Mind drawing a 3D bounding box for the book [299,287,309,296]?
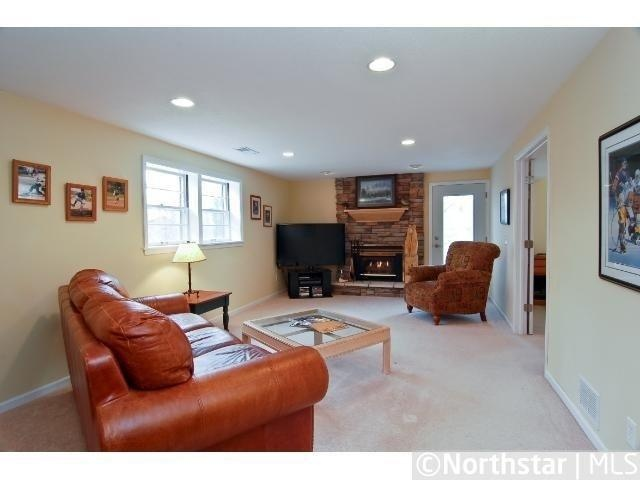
[{"bbox_3d":[-0.257,0.843,6.983,0.149,0.137,0.035,6,-11,-2],"label":"book"}]

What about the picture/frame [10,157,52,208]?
[{"bbox_3d":[-2.325,-0.463,3.412,0.050,0.354,0.306,2,8,22],"label":"picture/frame"}]

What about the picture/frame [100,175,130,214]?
[{"bbox_3d":[-1.979,-0.437,4.052,0.032,0.457,0.390,0,1,24],"label":"picture/frame"}]

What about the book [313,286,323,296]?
[{"bbox_3d":[-0.038,0.851,7.067,0.151,0.139,0.039,4,-10,-3],"label":"book"}]

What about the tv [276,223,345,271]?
[{"bbox_3d":[-0.169,0.083,7.211,0.815,0.565,0.214,0,4,-8],"label":"tv"}]

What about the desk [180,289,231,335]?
[{"bbox_3d":[-1.162,0.744,4.579,0.507,0.468,0.508,0,6,2],"label":"desk"}]

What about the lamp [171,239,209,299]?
[{"bbox_3d":[-1.428,0.311,4.653,0.395,0.563,0.396,-3,6,-32],"label":"lamp"}]

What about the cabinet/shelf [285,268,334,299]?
[{"bbox_3d":[-0.158,0.709,7.028,0.757,0.490,0.438,-1,-3,-5],"label":"cabinet/shelf"}]

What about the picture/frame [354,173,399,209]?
[{"bbox_3d":[1.005,-0.845,7.209,0.595,0.497,0.061,1,4,18],"label":"picture/frame"}]

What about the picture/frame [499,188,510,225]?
[{"bbox_3d":[2.326,-0.426,5.318,0.069,0.501,0.536,1,-1,17],"label":"picture/frame"}]
